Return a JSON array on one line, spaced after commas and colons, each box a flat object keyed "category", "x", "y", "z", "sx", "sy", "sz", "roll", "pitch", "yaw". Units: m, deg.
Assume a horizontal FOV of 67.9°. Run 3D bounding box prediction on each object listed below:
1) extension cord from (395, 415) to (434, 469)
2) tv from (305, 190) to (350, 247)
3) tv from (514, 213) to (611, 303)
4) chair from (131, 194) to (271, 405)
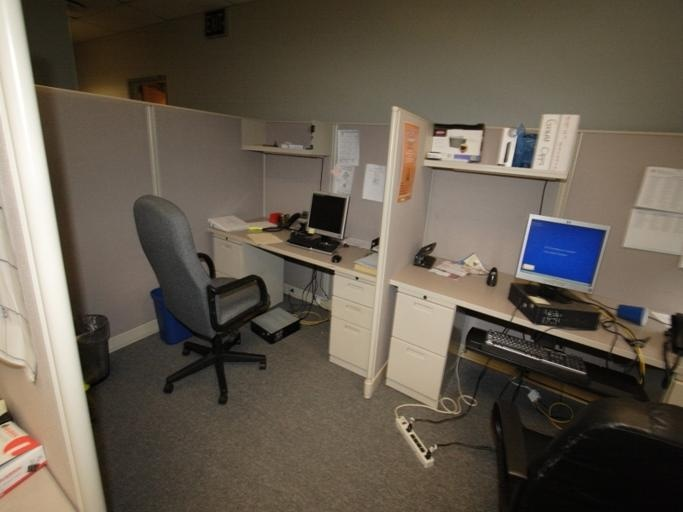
[{"category": "extension cord", "x": 0.400, "y": 1.106, "z": 3.058, "sx": 0.101, "sy": 0.166, "sz": 0.328, "roll": -7, "pitch": 23, "yaw": -21}, {"category": "tv", "x": -0.104, "y": -0.276, "z": 3.857, "sx": 0.377, "sy": 0.345, "sz": 0.040, "roll": 19, "pitch": 17, "yaw": 37}, {"category": "tv", "x": 1.354, "y": 0.025, "z": 3.073, "sx": 0.461, "sy": 0.469, "sz": 0.051, "roll": 13, "pitch": 13, "yaw": 20}, {"category": "chair", "x": -0.876, "y": 0.242, "z": 3.269, "sx": 0.590, "sy": 1.295, "sz": 0.655, "roll": 18, "pitch": 24, "yaw": 37}]
